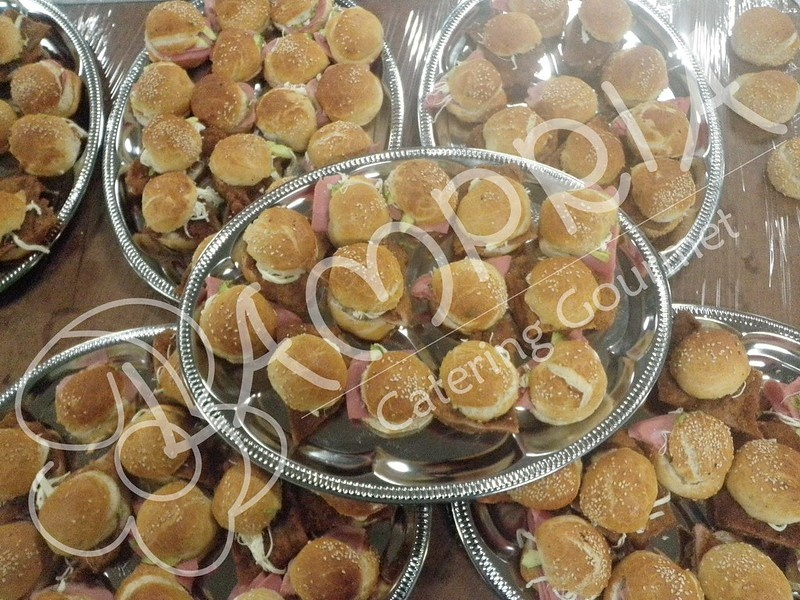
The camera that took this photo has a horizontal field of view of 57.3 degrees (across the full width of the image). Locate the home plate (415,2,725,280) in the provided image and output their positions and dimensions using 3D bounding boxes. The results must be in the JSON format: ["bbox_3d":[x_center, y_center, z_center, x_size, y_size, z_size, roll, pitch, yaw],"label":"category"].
[{"bbox_3d":[0.926,-0.637,3.002,0.877,0.146,1.141,-9,80,-2],"label":"home plate"}]
